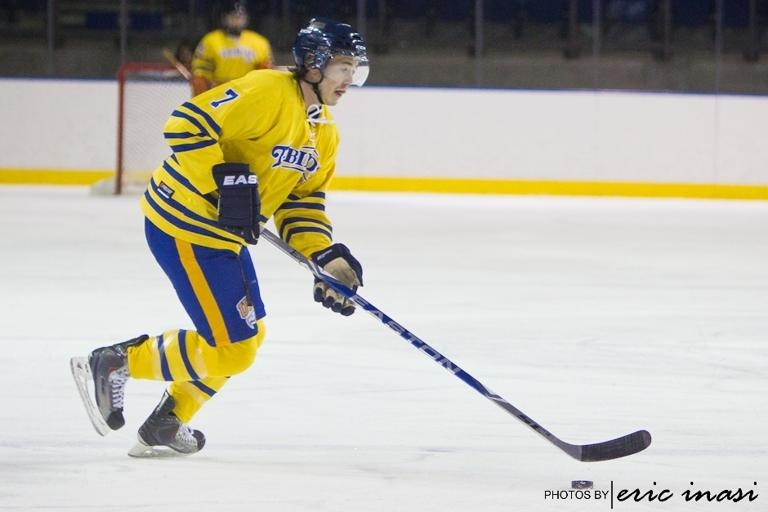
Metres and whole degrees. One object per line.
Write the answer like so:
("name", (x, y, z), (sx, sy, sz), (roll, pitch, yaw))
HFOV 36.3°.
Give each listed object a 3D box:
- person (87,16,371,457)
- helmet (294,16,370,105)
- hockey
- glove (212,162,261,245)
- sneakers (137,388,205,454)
("person", (-0.734, -0.079, 5.298), (1.375, 1.967, 0.489), (-2, 16, -11))
("helmet", (-0.198, -0.917, 5.406), (0.325, 0.327, 0.381), (-8, 28, -42))
("hockey", (0.359, 0.457, 5.908), (0.325, 0.055, 2.610), (-33, 30, -18))
("glove", (-0.648, -0.247, 5.246), (0.254, 0.299, 0.242), (1, 6, -2))
("sneakers", (-0.989, 0.784, 5.348), (0.376, 0.231, 0.120), (9, -6, -33))
